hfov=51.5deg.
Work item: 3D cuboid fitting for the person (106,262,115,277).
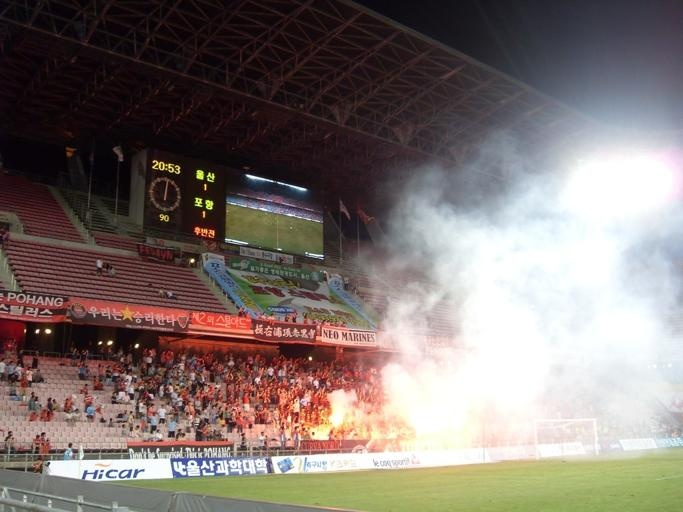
[{"bbox_3d":[-12.460,0.718,38.095,0.456,0.887,0.706,2,-21,-21],"label":"person"}]

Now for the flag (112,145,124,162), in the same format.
[{"bbox_3d":[-13.855,-6.435,43.786,0.678,0.773,0.811,25,12,-23],"label":"flag"}]

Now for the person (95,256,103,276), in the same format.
[{"bbox_3d":[-12.967,0.474,37.808,0.384,1.205,1.059,2,-21,-21],"label":"person"}]

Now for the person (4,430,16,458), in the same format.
[{"bbox_3d":[-13.065,7.421,27.747,0.548,1.064,0.573,-2,-9,5],"label":"person"}]

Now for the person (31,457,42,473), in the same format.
[{"bbox_3d":[-11.565,7.900,26.834,0.387,0.641,0.895,4,-23,-25],"label":"person"}]

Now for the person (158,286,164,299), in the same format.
[{"bbox_3d":[-9.806,1.969,38.493,0.354,0.823,0.562,0,-20,-15],"label":"person"}]

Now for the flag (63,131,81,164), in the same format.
[{"bbox_3d":[-16.742,-6.868,43.819,0.299,1.212,1.270,16,29,33],"label":"flag"}]
